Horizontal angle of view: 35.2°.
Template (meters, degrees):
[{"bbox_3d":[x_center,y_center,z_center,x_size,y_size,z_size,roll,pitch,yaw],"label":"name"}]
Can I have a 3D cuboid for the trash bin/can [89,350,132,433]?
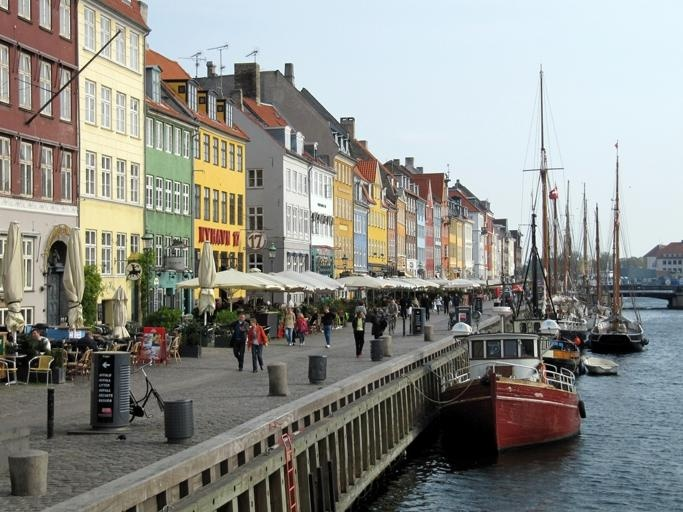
[{"bbox_3d":[-5.468,3.142,25.740,0.782,1.981,0.769,-1,0,8],"label":"trash bin/can"}]

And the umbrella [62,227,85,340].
[{"bbox_3d":[-9.734,0.825,39.078,0.651,3.725,1.331,-1,-5,-15],"label":"umbrella"}]
